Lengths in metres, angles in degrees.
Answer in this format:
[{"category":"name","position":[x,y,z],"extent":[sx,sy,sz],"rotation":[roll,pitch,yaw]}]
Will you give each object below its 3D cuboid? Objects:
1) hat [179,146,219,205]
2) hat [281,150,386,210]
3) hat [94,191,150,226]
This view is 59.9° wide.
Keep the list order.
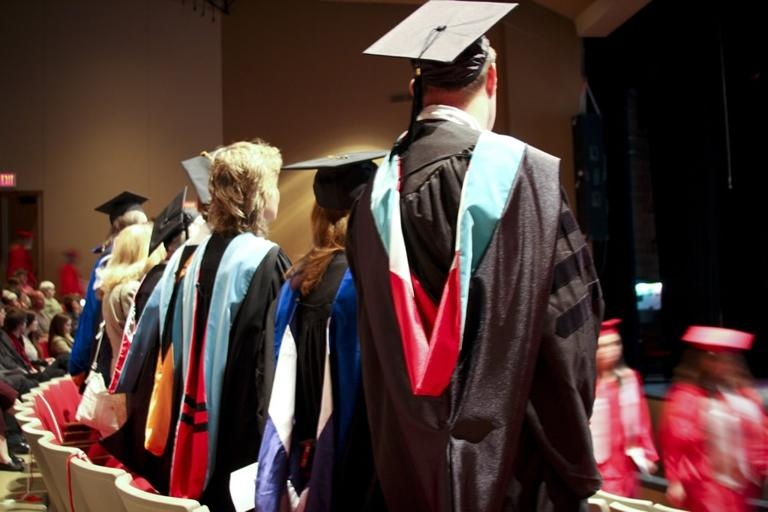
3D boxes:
[{"category":"hat","position":[-1.341,-0.527,4.620],"extent":[0.413,0.453,0.105],"rotation":[9,7,40]},{"category":"hat","position":[-0.266,-0.419,3.861],"extent":[0.528,0.309,0.573],"rotation":[2,11,35]},{"category":"hat","position":[-2.977,-0.533,7.572],"extent":[0.540,0.158,0.573],"rotation":[-35,-12,17]}]
